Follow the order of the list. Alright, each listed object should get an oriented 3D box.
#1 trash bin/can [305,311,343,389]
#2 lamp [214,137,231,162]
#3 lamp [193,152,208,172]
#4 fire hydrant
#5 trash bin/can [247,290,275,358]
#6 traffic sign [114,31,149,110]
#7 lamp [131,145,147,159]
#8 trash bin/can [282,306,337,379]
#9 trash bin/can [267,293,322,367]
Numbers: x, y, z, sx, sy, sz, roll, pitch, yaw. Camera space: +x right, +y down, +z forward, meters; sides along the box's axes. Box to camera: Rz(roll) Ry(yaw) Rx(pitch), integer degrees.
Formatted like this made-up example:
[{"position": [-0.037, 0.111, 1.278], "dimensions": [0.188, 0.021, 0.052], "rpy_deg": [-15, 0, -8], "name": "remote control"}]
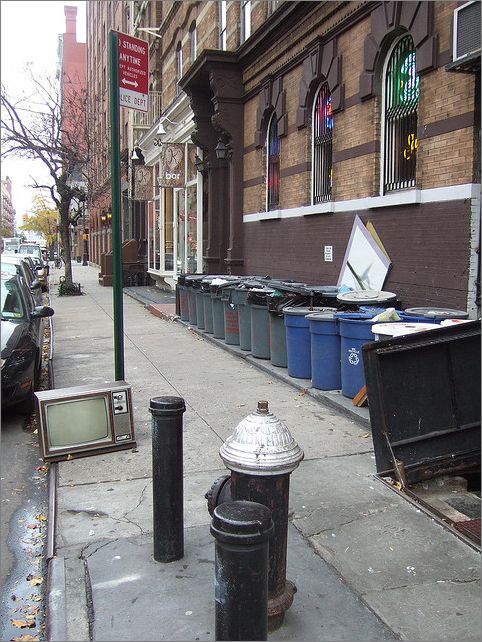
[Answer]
[{"position": [0.990, 0.342, 7.185], "dimensions": [0.686, 1.094, 0.840], "rpy_deg": [1, 5, 19], "name": "trash bin/can"}, {"position": [-0.474, -4.790, 14.826], "dimensions": [0.403, 0.648, 0.725], "rpy_deg": [1, 4, -4], "name": "lamp"}, {"position": [-1.258, -5.069, 16.792], "dimensions": [0.375, 0.816, 1.265], "rpy_deg": [1, 4, -8], "name": "lamp"}, {"position": [0.042, 0.834, 2.247], "dimensions": [0.411, 1.005, 0.644], "rpy_deg": [2, 4, 5], "name": "fire hydrant"}, {"position": [0.237, 0.061, 9.162], "dimensions": [0.559, 1.082, 0.658], "rpy_deg": [-7, 11, -16], "name": "trash bin/can"}, {"position": [-1.074, -2.470, 5.298], "dimensions": [0.166, 0.638, 0.403], "rpy_deg": [5, 5, 36], "name": "traffic sign"}, {"position": [-5.422, -8.759, 27.942], "dimensions": [0.912, 0.866, 0.680], "rpy_deg": [14, 22, 28], "name": "lamp"}, {"position": [0.796, 0.310, 7.677], "dimensions": [0.906, 1.239, 0.826], "rpy_deg": [0, 2, -3], "name": "trash bin/can"}, {"position": [0.917, 0.107, 8.583], "dimensions": [0.858, 1.462, 0.925], "rpy_deg": [-4, 4, -32], "name": "trash bin/can"}]
